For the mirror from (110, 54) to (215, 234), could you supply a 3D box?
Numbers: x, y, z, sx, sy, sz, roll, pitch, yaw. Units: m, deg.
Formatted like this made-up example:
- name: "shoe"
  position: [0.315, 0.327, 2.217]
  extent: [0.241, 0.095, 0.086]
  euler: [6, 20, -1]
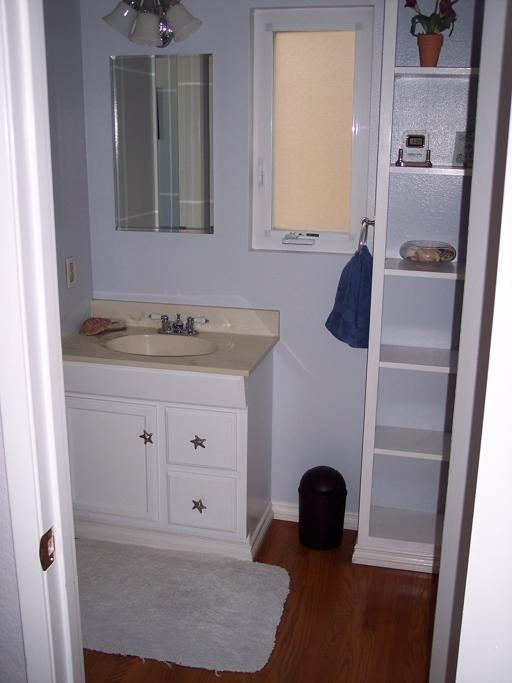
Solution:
- name: "mirror"
  position: [-0.448, -0.934, 2.679]
  extent: [0.506, 0.790, 0.036]
  euler: [5, 14, 14]

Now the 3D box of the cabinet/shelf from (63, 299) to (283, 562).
- name: "cabinet/shelf"
  position: [-0.405, 0.381, 2.660]
  extent: [0.904, 1.044, 0.560]
  euler: [4, 16, 11]

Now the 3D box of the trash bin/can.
- name: "trash bin/can"
  position: [0.306, 0.772, 2.643]
  extent: [0.225, 0.362, 0.243]
  euler: [2, 10, 3]

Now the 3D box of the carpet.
- name: "carpet"
  position: [-0.329, 1.019, 2.213]
  extent: [0.872, 0.036, 0.585]
  euler: [5, 15, 10]

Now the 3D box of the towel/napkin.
- name: "towel/napkin"
  position: [0.399, -0.180, 2.426]
  extent: [0.183, 0.468, 0.172]
  euler: [4, 14, 8]
